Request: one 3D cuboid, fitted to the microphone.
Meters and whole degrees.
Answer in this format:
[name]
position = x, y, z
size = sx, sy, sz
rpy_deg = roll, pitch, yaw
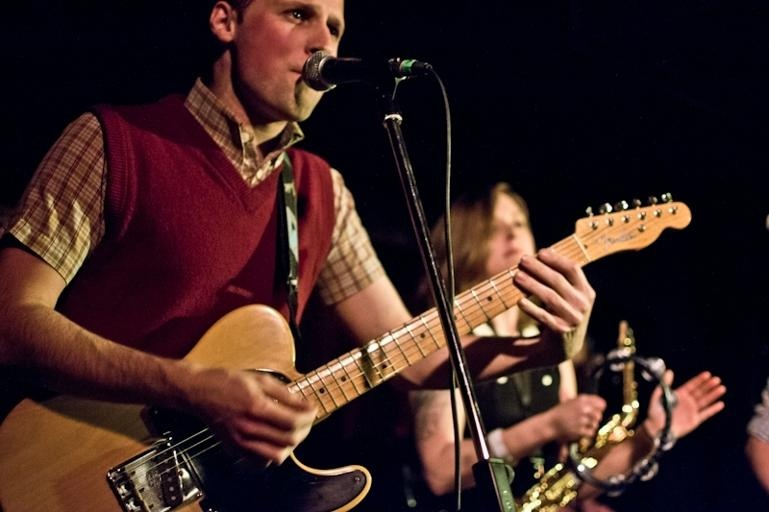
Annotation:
[microphone]
position = -0.078, -0.636, 2.559
size = 0.486, 0.131, 0.147
rpy_deg = 9, 8, 33
